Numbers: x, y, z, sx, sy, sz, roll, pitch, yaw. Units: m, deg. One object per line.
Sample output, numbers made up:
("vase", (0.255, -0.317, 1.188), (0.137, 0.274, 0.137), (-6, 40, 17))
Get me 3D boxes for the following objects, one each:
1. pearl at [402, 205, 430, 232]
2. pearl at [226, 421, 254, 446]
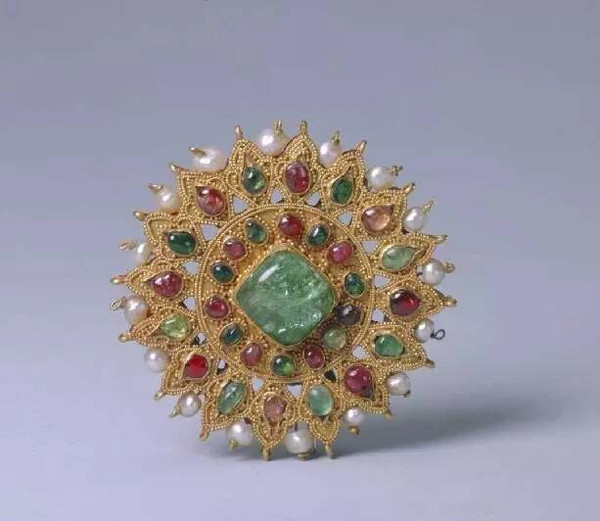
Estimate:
("pearl", (0.522, -0.183, 4.256), (0.104, 0.101, 0.039), (-8, -12, 4))
("pearl", (-0.266, 0.798, 4.310), (0.155, 0.120, 0.127), (-1, -3, 0))
